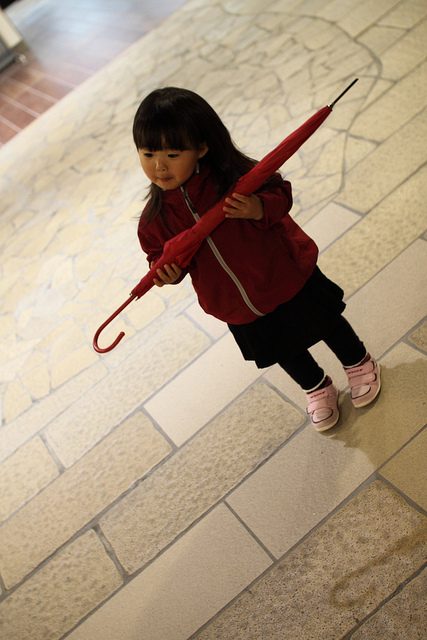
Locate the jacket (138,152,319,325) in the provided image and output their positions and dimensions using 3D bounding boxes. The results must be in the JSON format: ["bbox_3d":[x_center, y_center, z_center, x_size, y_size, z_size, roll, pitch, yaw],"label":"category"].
[{"bbox_3d":[0.026,-0.246,1.586,0.434,0.470,0.333,-30,29,0],"label":"jacket"}]

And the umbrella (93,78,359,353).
[{"bbox_3d":[0.001,-0.245,1.490,0.818,0.322,0.178,-30,24,8],"label":"umbrella"}]

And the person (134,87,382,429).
[{"bbox_3d":[0.101,-0.133,1.655,0.516,1.087,0.406,-32,17,3],"label":"person"}]

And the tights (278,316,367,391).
[{"bbox_3d":[0.389,0.124,1.938,0.320,0.222,0.108,-38,15,2],"label":"tights"}]
